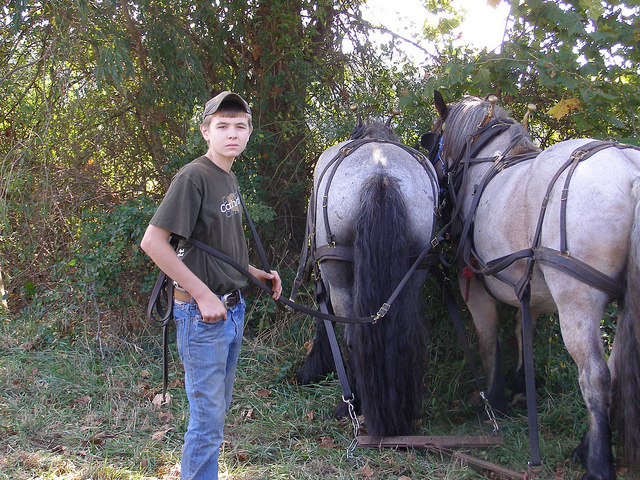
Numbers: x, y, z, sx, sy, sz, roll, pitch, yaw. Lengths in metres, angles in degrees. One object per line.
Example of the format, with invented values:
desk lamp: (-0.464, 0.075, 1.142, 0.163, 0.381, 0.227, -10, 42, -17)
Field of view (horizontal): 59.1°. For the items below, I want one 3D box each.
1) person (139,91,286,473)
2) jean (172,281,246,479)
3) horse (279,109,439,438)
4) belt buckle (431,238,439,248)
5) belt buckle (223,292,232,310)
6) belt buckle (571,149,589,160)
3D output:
person: (-0.640, 0.229, 3.366, 0.502, 2.184, 0.736, -7, -18, 24)
jean: (-0.647, 0.847, 3.381, 0.350, 1.091, 0.536, -7, -18, 22)
horse: (0.419, 0.273, 4.272, 0.967, 2.288, 0.675, 1, -17, -2)
belt buckle: (0.856, 0.012, 4.246, 0.065, 0.072, 0.017, 4, -3, -20)
belt buckle: (-0.552, 0.357, 3.384, 0.020, 0.074, 0.073, -1, 18, 32)
belt buckle: (1.634, -0.545, 3.574, 0.070, 0.027, 0.054, -37, 28, -20)
